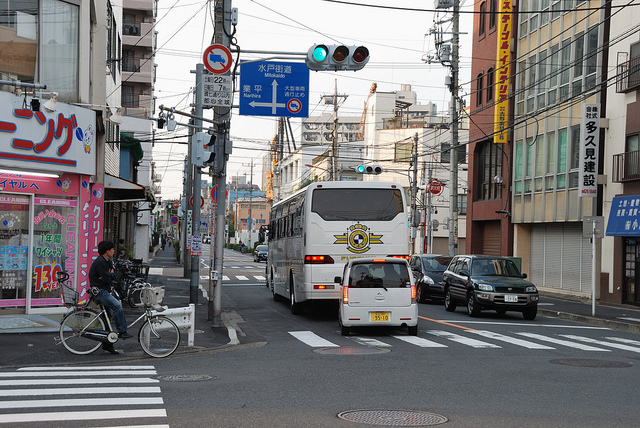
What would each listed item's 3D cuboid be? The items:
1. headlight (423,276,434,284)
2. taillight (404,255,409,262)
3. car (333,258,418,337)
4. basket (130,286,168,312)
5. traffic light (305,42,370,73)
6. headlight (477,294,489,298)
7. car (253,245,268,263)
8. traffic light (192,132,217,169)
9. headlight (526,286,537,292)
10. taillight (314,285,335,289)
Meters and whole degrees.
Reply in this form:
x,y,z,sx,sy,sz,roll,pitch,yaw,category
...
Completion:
x,y,z,sx,sy,sz,roll,pitch,yaw,category
4.808,2.864,31.623,0.188,0.286,0.560,1,-2,-39,headlight
2.943,1.472,24.261,0.136,0.139,0.251,-1,20,1,taillight
1.715,2.270,19.894,1.627,1.295,2.636,-1,4,-2,car
-5.503,2.763,23.748,1.410,0.832,1.077,3,-1,36,basket
0.466,-4.430,20.423,1.717,0.721,0.497,0,-1,-2,traffic light
5.880,2.904,25.786,0.426,0.129,0.086,-1,-2,26,headlight
-5.751,3.956,72.572,1.705,1.724,3.508,0,-6,-14,car
-3.462,-1.942,21.464,0.591,1.029,0.642,1,2,13,traffic light
7.621,2.673,25.775,0.247,0.097,0.179,-3,0,-16,headlight
0.147,2.414,24.110,0.681,0.110,0.041,0,-1,-10,taillight
